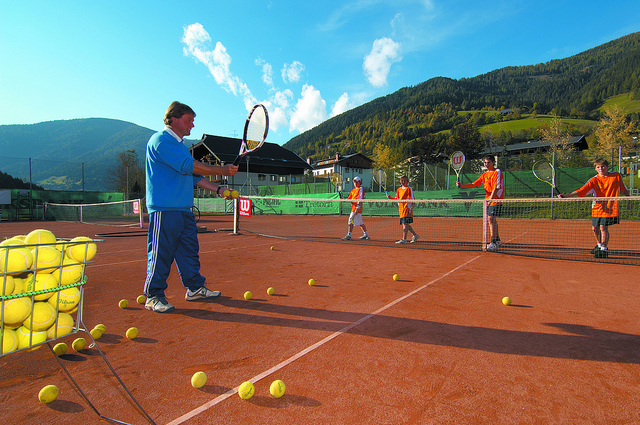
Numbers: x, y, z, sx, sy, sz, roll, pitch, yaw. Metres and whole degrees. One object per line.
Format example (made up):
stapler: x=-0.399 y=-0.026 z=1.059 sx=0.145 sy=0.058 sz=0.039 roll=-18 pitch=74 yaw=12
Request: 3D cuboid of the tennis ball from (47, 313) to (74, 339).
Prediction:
tennis ball: x=-2.326 y=1.037 z=3.907 sx=0.183 sy=0.199 sz=0.195 roll=24 pitch=-17 yaw=8

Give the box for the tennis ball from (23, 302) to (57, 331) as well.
tennis ball: x=-2.462 y=0.927 z=3.758 sx=0.219 sy=0.236 sz=0.228 roll=-12 pitch=-23 yaw=-5

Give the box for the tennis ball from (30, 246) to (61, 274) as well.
tennis ball: x=-2.388 y=0.419 z=3.793 sx=0.241 sy=0.228 sz=0.221 roll=-5 pitch=-19 yaw=-2

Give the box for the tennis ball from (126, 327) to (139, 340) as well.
tennis ball: x=-1.961 y=1.271 z=4.479 sx=0.107 sy=0.100 sz=0.098 roll=20 pitch=-26 yaw=11

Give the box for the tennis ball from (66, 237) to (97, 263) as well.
tennis ball: x=-2.181 y=0.352 z=3.906 sx=0.260 sy=0.232 sz=0.242 roll=0 pitch=10 yaw=0

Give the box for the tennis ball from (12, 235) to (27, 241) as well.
tennis ball: x=-2.778 y=0.258 z=3.925 sx=0.071 sy=0.040 sz=0.135 roll=4 pitch=1 yaw=1

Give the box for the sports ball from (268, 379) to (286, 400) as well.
sports ball: x=-0.359 y=1.541 z=3.662 sx=0.123 sy=0.137 sz=0.130 roll=-1 pitch=3 yaw=0

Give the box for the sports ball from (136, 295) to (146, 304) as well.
sports ball: x=-2.262 y=1.104 z=5.364 sx=0.104 sy=0.097 sz=0.091 roll=0 pitch=6 yaw=-4

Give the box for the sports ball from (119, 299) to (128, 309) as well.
sports ball: x=-2.427 y=1.128 z=5.233 sx=0.116 sy=0.102 sz=0.093 roll=-31 pitch=15 yaw=-39

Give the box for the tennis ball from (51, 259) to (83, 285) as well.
tennis ball: x=-2.272 y=0.556 z=3.846 sx=0.198 sy=0.217 sz=0.209 roll=12 pitch=16 yaw=-4

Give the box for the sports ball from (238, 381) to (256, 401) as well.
sports ball: x=-0.626 y=1.544 z=3.680 sx=0.119 sy=0.132 sz=0.127 roll=-11 pitch=-1 yaw=0

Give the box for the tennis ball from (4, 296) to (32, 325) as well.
tennis ball: x=-2.603 y=0.855 z=3.654 sx=0.188 sy=0.204 sz=0.192 roll=1 pitch=-20 yaw=0

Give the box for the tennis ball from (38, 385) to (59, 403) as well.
tennis ball: x=-2.327 y=1.562 z=3.640 sx=0.144 sy=0.123 sz=0.122 roll=-7 pitch=12 yaw=-35

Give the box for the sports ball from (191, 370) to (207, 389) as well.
sports ball: x=-1.071 y=1.478 z=3.775 sx=0.128 sy=0.137 sz=0.127 roll=8 pitch=0 yaw=0

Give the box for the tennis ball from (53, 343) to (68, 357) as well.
tennis ball: x=-2.531 y=1.343 z=4.136 sx=0.100 sy=0.109 sz=0.104 roll=17 pitch=-10 yaw=3

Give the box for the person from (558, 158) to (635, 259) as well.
person: x=5.685 y=-0.079 z=8.558 sx=0.755 sy=1.897 sz=1.407 roll=7 pitch=12 yaw=36

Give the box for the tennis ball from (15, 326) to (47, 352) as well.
tennis ball: x=-2.546 y=1.115 z=3.809 sx=0.204 sy=0.225 sz=0.218 roll=10 pitch=-28 yaw=5

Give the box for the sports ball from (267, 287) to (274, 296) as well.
sports ball: x=-0.663 y=1.074 z=5.729 sx=0.075 sy=0.083 sz=0.078 roll=-2 pitch=3 yaw=0

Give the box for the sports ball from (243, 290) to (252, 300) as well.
sports ball: x=-0.949 y=1.095 z=5.579 sx=0.079 sy=0.101 sz=0.083 roll=26 pitch=-2 yaw=1

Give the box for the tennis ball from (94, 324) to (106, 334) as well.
tennis ball: x=-2.314 y=1.238 z=4.495 sx=0.100 sy=0.094 sz=0.090 roll=8 pitch=-5 yaw=18

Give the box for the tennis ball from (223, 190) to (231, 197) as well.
tennis ball: x=-1.113 y=-0.226 z=5.080 sx=0.089 sy=0.079 sz=0.043 roll=-3 pitch=10 yaw=-16

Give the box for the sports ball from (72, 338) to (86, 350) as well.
sports ball: x=-2.387 y=1.316 z=4.207 sx=0.087 sy=0.092 sz=0.114 roll=-11 pitch=-1 yaw=-17

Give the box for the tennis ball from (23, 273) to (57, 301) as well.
tennis ball: x=-2.452 y=0.643 z=3.772 sx=0.218 sy=0.241 sz=0.230 roll=12 pitch=-3 yaw=1

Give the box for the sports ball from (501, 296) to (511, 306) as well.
sports ball: x=2.355 y=1.119 z=5.334 sx=0.091 sy=0.101 sz=0.093 roll=-3 pitch=7 yaw=0

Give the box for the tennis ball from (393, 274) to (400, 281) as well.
tennis ball: x=1.164 y=0.992 z=6.399 sx=0.074 sy=0.076 sz=0.070 roll=10 pitch=-16 yaw=3

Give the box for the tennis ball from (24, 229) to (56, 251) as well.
tennis ball: x=-2.536 y=0.228 z=3.866 sx=0.204 sy=0.225 sz=0.214 roll=10 pitch=-3 yaw=1
